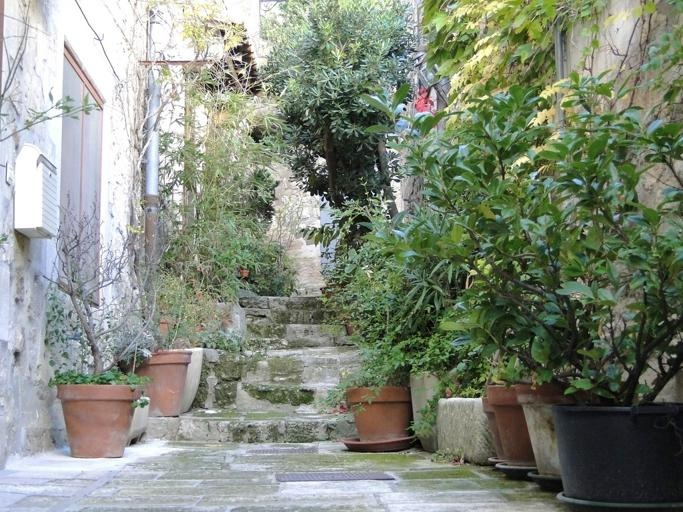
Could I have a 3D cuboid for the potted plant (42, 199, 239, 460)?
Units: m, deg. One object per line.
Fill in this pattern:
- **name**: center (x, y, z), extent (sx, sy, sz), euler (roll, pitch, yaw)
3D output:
- **potted plant**: center (-1.678, 0.891, 4.862), extent (1.140, 1.554, 0.962), euler (2, -4, -32)
